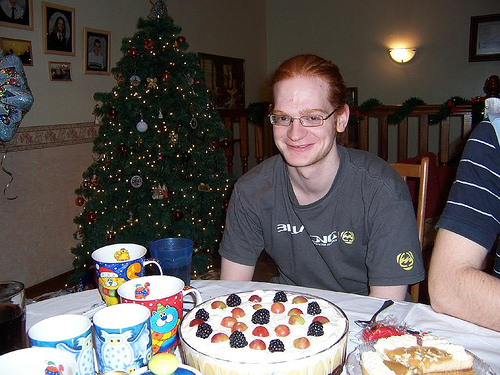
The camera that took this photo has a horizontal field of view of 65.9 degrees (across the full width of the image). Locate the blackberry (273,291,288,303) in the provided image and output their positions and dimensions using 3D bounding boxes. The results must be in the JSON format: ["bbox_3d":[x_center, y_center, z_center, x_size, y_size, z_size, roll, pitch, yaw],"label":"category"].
[{"bbox_3d":[0.080,0.294,1.023,0.038,0.022,0.024,-6,14,-22],"label":"blackberry"}]

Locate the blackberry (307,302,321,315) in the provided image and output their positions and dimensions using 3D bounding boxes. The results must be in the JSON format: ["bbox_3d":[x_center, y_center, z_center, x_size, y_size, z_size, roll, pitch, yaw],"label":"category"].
[{"bbox_3d":[0.158,0.304,0.956,0.033,0.021,0.029,1,13,8],"label":"blackberry"}]

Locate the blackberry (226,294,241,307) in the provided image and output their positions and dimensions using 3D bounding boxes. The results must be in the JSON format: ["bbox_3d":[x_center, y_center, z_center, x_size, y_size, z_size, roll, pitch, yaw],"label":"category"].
[{"bbox_3d":[-0.043,0.301,1.017,0.039,0.021,0.029,-8,14,-28],"label":"blackberry"}]

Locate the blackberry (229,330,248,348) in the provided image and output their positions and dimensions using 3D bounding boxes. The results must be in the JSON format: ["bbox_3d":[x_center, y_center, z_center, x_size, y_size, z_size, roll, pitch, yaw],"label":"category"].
[{"bbox_3d":[-0.026,0.329,0.832,0.024,0.016,0.032,-1,8,0],"label":"blackberry"}]

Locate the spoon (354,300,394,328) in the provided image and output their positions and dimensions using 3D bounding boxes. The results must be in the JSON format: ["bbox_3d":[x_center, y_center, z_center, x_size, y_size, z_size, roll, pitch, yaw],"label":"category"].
[{"bbox_3d":[0.343,0.348,1.060,0.045,0.032,0.173,0,9,43],"label":"spoon"}]

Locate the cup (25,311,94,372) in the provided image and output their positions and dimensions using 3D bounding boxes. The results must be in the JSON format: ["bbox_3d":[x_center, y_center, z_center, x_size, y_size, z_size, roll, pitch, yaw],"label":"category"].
[{"bbox_3d":[-0.366,0.297,0.772,0.134,0.102,0.101,6,-2,-31],"label":"cup"}]

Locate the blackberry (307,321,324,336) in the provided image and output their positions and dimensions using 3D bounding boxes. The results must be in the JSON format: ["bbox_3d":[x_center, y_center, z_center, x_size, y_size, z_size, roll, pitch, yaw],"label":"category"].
[{"bbox_3d":[0.147,0.323,0.869,0.037,0.021,0.035,1,13,10],"label":"blackberry"}]

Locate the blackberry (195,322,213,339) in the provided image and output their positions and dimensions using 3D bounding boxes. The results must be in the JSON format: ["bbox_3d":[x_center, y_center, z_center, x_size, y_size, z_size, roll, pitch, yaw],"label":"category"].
[{"bbox_3d":[-0.105,0.331,0.884,0.042,0.025,0.033,-4,13,-12],"label":"blackberry"}]

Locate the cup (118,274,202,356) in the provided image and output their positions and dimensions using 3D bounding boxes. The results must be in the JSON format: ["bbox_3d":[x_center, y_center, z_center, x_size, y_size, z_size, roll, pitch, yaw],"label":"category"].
[{"bbox_3d":[-0.207,0.292,0.969,0.140,0.155,0.205,2,6,45],"label":"cup"}]

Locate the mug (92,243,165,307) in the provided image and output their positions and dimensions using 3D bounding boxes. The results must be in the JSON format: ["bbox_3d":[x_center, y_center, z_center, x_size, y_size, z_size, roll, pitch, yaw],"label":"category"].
[{"bbox_3d":[-0.358,0.258,1.126,0.201,0.154,0.138,2,15,-31],"label":"mug"}]

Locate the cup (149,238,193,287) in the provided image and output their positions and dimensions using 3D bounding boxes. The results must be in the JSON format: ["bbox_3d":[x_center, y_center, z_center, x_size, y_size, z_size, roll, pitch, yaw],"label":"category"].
[{"bbox_3d":[-0.205,0.202,1.173,0.142,0.165,0.147,1,5,0],"label":"cup"}]

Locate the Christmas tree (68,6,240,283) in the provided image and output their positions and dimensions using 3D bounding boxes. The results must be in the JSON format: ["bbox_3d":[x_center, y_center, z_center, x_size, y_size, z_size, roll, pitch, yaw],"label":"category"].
[{"bbox_3d":[-0.782,-0.265,3.192,0.953,2.566,0.808,1,10,-19],"label":"Christmas tree"}]
